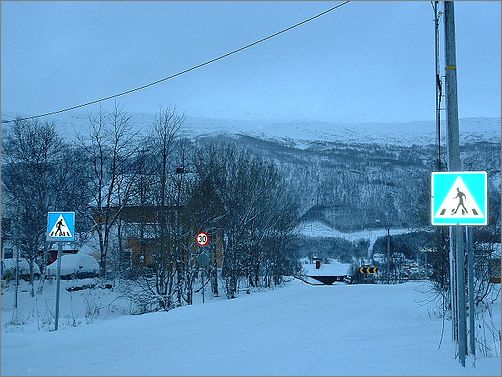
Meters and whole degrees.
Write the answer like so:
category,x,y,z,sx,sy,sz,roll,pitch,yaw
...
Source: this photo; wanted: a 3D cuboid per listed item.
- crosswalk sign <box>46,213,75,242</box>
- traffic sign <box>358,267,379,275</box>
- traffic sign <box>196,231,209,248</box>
category,x,y,z,sx,sy,sz,roll,pitch,yaw
crosswalk sign,-8.035,1.604,31.323,1.108,1.368,0.111,3,-30,-18
traffic sign,9.441,6.412,58.127,0.973,0.436,1.061,1,-10,7
traffic sign,-2.814,2.904,43.286,0.641,0.777,1.111,-2,-6,-10
